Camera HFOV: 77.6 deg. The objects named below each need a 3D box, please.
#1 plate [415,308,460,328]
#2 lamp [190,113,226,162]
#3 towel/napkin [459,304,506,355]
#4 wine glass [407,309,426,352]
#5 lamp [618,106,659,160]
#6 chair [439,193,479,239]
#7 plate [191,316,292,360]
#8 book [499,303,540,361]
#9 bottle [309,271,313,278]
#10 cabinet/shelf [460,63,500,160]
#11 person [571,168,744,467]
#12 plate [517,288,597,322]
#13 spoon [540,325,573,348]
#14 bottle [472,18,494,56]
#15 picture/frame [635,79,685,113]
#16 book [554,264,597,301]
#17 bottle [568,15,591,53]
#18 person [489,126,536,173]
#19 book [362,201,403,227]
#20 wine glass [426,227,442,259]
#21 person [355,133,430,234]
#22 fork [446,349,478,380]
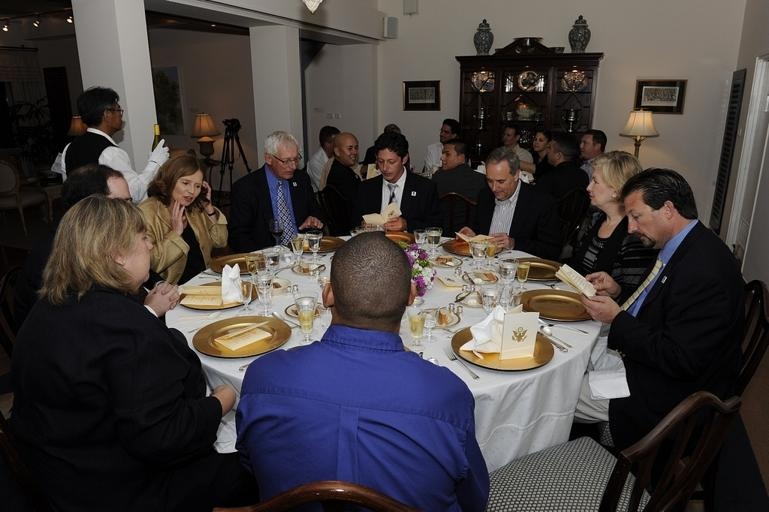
[{"bbox_3d":[0.271,0.272,2.255,0.132,0.034,0.133,9,16,31],"label":"plate"},{"bbox_3d":[-3.170,-2.076,8.355,0.495,0.793,0.523,-8,16,-20],"label":"lamp"},{"bbox_3d":[0.419,0.343,2.098,0.179,0.054,0.177,11,42,23],"label":"towel/napkin"},{"bbox_3d":[0.140,0.322,2.100,0.092,0.176,0.092,3,-3,-41],"label":"wine glass"},{"bbox_3d":[3.407,-1.548,6.372,0.409,0.740,0.424,-7,22,-3],"label":"lamp"},{"bbox_3d":[0.675,-0.362,4.378,0.315,0.528,0.360,8,51,10],"label":"chair"},{"bbox_3d":[-0.627,0.372,2.150,0.388,0.039,0.415,-5,15,-18],"label":"plate"},{"bbox_3d":[0.588,0.340,2.074,0.206,0.246,0.025,-6,23,-18],"label":"book"},{"bbox_3d":[-0.432,0.104,2.788,0.020,0.030,0.024,0,4,-1],"label":"bottle"},{"bbox_3d":[1.391,-2.148,7.068,0.592,1.325,0.301,-1,20,5],"label":"cabinet/shelf"},{"bbox_3d":[1.488,0.433,2.589,0.709,1.680,0.823,-11,21,-18],"label":"person"},{"bbox_3d":[0.866,0.242,2.475,0.345,0.041,0.337,-8,13,-37],"label":"plate"},{"bbox_3d":[0.797,0.373,2.227,0.043,0.033,0.220,0,26,-18],"label":"spoon"},{"bbox_3d":[1.465,-3.142,6.867,0.236,0.485,0.397,15,24,36],"label":"bottle"},{"bbox_3d":[3.819,-2.187,6.521,0.535,0.459,0.043,8,20,15],"label":"picture/frame"},{"bbox_3d":[0.952,0.093,2.417,0.272,0.042,0.272,-8,56,-54],"label":"book"},{"bbox_3d":[2.634,-2.960,6.421,0.265,0.459,0.276,0,16,0],"label":"bottle"},{"bbox_3d":[1.715,-1.376,6.558,0.446,0.815,0.520,-5,22,-32],"label":"person"},{"bbox_3d":[-0.013,-0.284,3.376,0.135,0.121,0.398,11,22,29],"label":"book"},{"bbox_3d":[0.306,-0.077,3.018,0.115,0.182,0.114,-23,39,-27],"label":"wine glass"},{"bbox_3d":[0.073,-0.597,4.065,0.711,0.910,0.531,9,29,23],"label":"person"},{"bbox_3d":[0.323,0.449,1.965,0.032,0.030,0.200,-4,36,-27],"label":"fork"}]
